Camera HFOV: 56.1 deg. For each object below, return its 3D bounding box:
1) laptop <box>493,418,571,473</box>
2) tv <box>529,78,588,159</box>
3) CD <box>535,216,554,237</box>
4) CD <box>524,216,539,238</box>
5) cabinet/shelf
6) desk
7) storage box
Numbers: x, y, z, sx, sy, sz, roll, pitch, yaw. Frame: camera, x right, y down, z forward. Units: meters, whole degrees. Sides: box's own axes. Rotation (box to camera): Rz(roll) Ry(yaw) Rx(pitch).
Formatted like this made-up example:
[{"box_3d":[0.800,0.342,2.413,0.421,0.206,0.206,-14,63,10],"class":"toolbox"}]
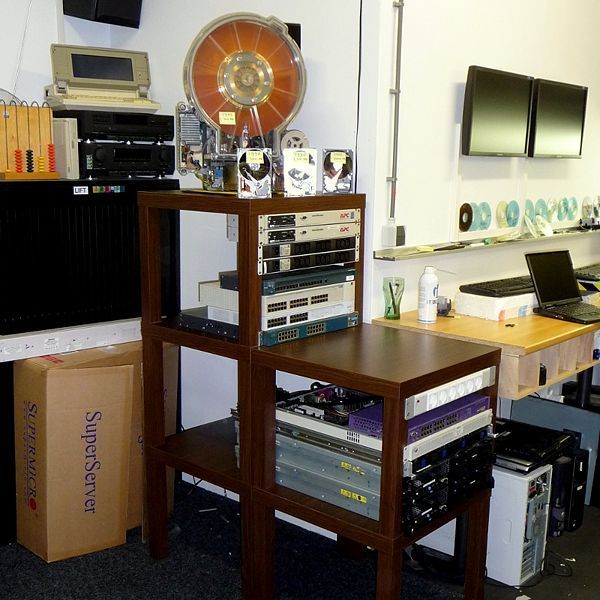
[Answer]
[{"box_3d":[0.894,0.514,2.224,0.231,0.052,0.229,-12,18,-43],"class":"laptop"},{"box_3d":[1.386,-0.958,3.001,0.645,0.427,0.070,-4,7,-42],"class":"tv"},{"box_3d":[1.281,-0.393,2.986,0.099,0.113,0.030,21,-37,-38],"class":"CD"},{"box_3d":[1.185,-0.374,2.914,0.020,0.101,0.095,-18,9,17],"class":"CD"},{"box_3d":[0.074,0.338,1.917,0.543,1.480,1.085,-13,20,-42],"class":"cabinet/shelf"},{"box_3d":[0.754,0.379,2.159,0.364,0.370,0.682,-17,26,-35],"class":"desk"},{"box_3d":[-0.827,0.589,2.219,0.306,1.008,0.800,2,2,39],"class":"storage box"}]
